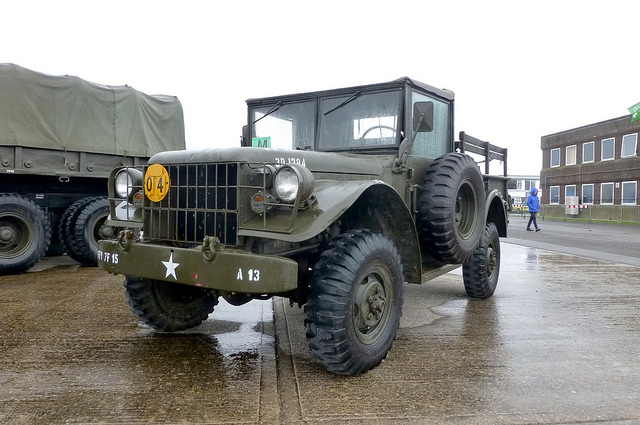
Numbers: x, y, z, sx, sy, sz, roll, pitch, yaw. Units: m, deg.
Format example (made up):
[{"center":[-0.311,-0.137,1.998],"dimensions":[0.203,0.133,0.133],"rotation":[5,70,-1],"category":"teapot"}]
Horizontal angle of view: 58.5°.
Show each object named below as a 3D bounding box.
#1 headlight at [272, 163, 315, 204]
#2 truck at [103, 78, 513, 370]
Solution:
[{"center":[-0.300,-0.305,6.218],"dimensions":[0.383,0.467,0.351],"rotation":[-3,1,16],"category":"headlight"},{"center":[0.353,0.138,7.879],"dimensions":[2.970,3.043,5.422],"rotation":[-2,-4,37],"category":"truck"}]
